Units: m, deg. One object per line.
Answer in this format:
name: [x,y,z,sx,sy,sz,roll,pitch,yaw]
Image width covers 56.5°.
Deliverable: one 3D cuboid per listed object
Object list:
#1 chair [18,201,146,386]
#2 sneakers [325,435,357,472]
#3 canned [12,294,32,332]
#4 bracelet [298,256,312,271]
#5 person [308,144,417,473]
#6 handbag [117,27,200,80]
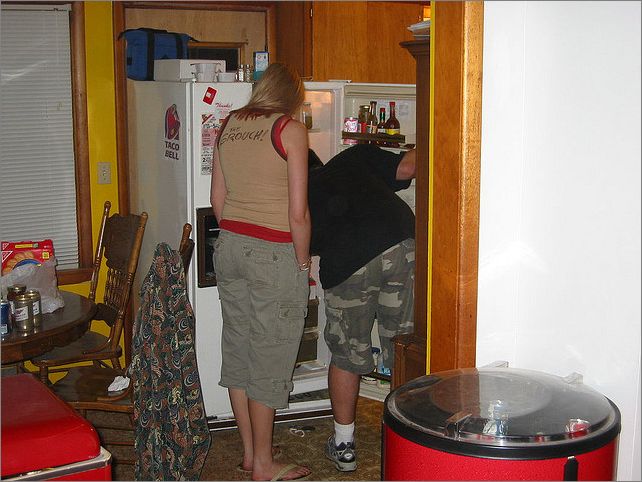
chair: [-1.353,0.380,3.197,0.661,1.067,0.553,0,7,-42]
sneakers: [0.105,1.068,2.967,0.081,0.104,0.205,-2,14,-12]
canned: [-1.338,0.322,2.649,0.086,0.147,0.086,-3,11,-11]
bracelet: [-0.070,0.096,2.705,0.041,0.053,0.059,-1,-9,4]
person: [0.199,0.325,2.971,0.515,1.595,0.353,-1,11,-1]
handbag: [-0.963,-1.152,3.736,0.494,0.374,0.182,1,6,-7]
